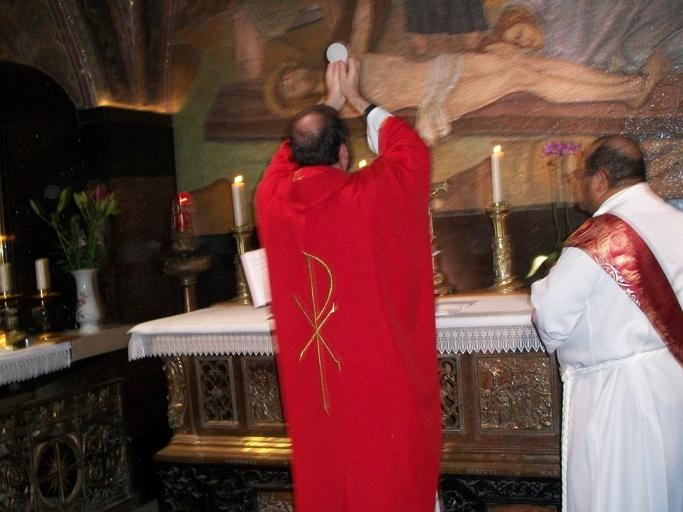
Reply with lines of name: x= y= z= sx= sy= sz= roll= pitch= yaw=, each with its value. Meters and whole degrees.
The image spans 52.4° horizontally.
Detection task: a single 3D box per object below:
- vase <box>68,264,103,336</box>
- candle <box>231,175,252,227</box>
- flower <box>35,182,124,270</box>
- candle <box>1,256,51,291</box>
vase: x=-1.733 y=0.304 z=4.747 sx=0.173 sy=0.432 sz=0.223 roll=-3 pitch=-2 yaw=-20
candle: x=-0.639 y=-0.339 z=4.380 sx=0.087 sy=0.352 sz=0.154 roll=-4 pitch=-2 yaw=-10
flower: x=-1.752 y=-0.200 z=4.827 sx=0.529 sy=0.605 sz=0.606 roll=4 pitch=10 yaw=41
candle: x=-2.036 y=0.135 z=4.477 sx=0.331 sy=0.238 sz=0.262 roll=-2 pitch=-3 yaw=-34
